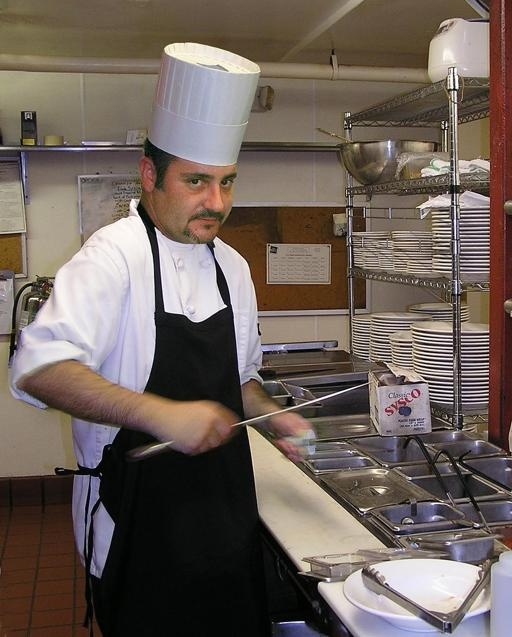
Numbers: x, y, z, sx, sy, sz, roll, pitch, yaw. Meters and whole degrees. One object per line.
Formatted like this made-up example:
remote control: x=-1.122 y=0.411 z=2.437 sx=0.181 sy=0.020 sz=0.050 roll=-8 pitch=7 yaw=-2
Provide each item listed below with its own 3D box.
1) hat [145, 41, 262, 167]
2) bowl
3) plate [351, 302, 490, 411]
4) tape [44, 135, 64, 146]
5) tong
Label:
hat: x=-0.123 y=-0.474 z=1.333 sx=0.320 sy=0.295 sz=0.288 roll=14 pitch=26 yaw=-11
bowl: x=0.598 y=-0.723 z=2.585 sx=0.425 sy=0.166 sz=0.428 roll=-1 pitch=14 yaw=0
plate: x=0.631 y=0.129 z=2.090 sx=0.379 sy=0.150 sz=0.487 roll=-4 pitch=6 yaw=-36
tape: x=-1.343 y=-1.162 z=3.631 sx=0.102 sy=0.054 sz=0.095 roll=-1 pitch=10 yaw=-8
tong: x=0.227 y=0.364 z=0.760 sx=0.157 sy=0.033 sz=0.219 roll=3 pitch=3 yaw=33
